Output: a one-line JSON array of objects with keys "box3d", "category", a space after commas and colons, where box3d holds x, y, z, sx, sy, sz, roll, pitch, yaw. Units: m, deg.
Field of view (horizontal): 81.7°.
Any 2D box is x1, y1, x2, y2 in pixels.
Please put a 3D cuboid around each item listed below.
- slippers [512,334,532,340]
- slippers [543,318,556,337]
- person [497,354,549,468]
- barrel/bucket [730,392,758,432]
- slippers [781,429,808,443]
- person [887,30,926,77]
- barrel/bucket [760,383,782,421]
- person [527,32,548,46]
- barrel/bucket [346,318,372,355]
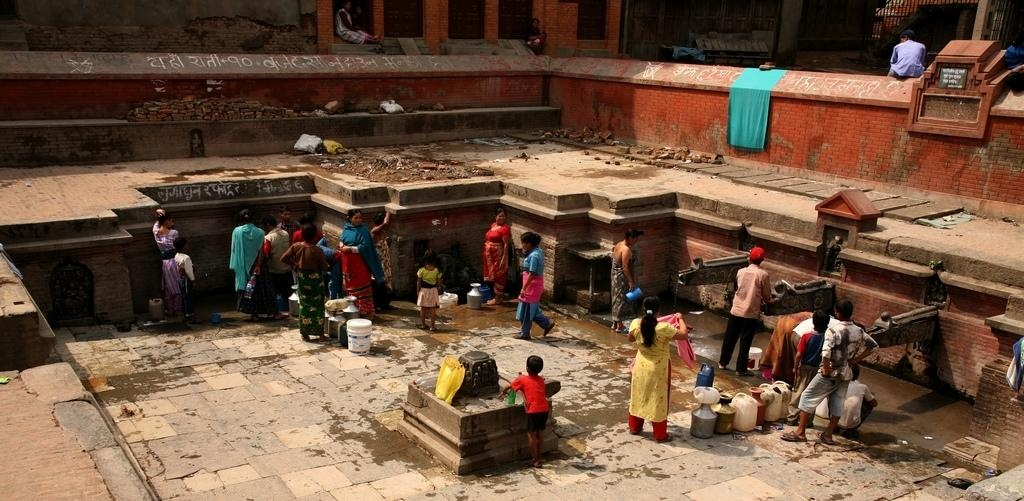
[{"box3d": [0.247, 2.083, 14.357, 0.404, 0.129, 0.136, 10, 19, 25], "category": "slippers"}, {"box3d": [0.910, 1.928, 14.595, 0.213, 0.552, 0.226, -22, 74, -23], "category": "slippers"}, {"box3d": [0.304, 2.953, 10.913, 0.792, 1.980, 0.947, -4, 25, -2], "category": "person"}, {"box3d": [4.639, 3.254, 11.852, 0.536, 0.646, 0.519, -2, 23, 1], "category": "barrel/bucket"}, {"box3d": [5.557, 3.672, 11.654, 0.477, 0.132, 0.220, 1, 5, -6], "category": "slippers"}, {"box3d": [11.603, -5.594, 17.360, 0.785, 0.991, 1.311, 11, 25, 28], "category": "person"}, {"box3d": [5.292, 3.137, 12.140, 0.516, 0.627, 0.473, -2, 24, 1], "category": "barrel/bucket"}, {"box3d": [1.140, -9.565, 26.791, 0.899, 0.609, 0.400, -21, 30, -39], "category": "person"}, {"box3d": [-3.493, 1.947, 13.493, 0.607, 0.759, 0.488, -7, 24, -10], "category": "barrel/bucket"}]
